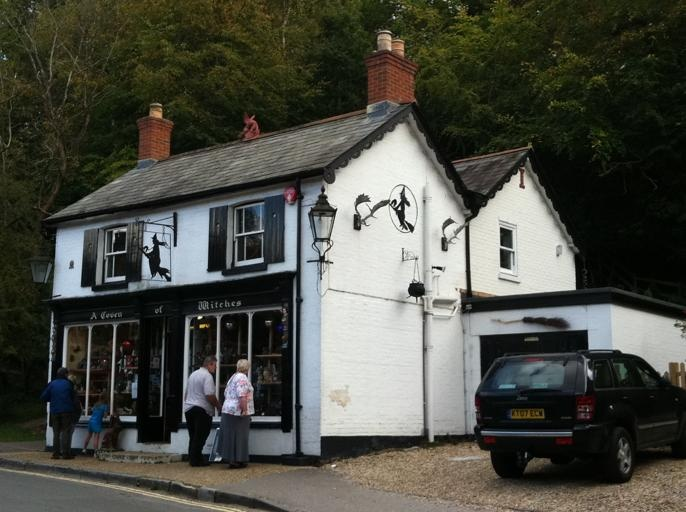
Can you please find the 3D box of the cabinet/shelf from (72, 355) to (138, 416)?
[{"bbox_3d":[-6.989,3.865,25.859,1.552,1.525,0.531,-9,-16,35],"label":"cabinet/shelf"}]

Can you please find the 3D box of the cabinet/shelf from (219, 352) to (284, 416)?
[{"bbox_3d":[-2.349,3.244,21.951,1.173,2.030,1.483,1,-2,-38],"label":"cabinet/shelf"}]

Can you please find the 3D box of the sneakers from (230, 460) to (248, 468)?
[{"bbox_3d":[-2.588,5.145,21.724,0.444,0.185,0.165,2,-3,-32],"label":"sneakers"}]

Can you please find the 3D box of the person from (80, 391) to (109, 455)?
[{"bbox_3d":[-7.206,4.814,25.089,0.775,1.420,1.277,-2,1,-3],"label":"person"}]

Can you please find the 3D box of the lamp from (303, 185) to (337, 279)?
[{"bbox_3d":[-0.544,-0.628,22.755,0.780,1.650,0.950,-2,1,-2],"label":"lamp"}]

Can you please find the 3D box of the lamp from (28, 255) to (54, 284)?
[{"bbox_3d":[-9.519,0.392,27.425,0.571,0.735,0.729,-3,1,-24],"label":"lamp"}]
